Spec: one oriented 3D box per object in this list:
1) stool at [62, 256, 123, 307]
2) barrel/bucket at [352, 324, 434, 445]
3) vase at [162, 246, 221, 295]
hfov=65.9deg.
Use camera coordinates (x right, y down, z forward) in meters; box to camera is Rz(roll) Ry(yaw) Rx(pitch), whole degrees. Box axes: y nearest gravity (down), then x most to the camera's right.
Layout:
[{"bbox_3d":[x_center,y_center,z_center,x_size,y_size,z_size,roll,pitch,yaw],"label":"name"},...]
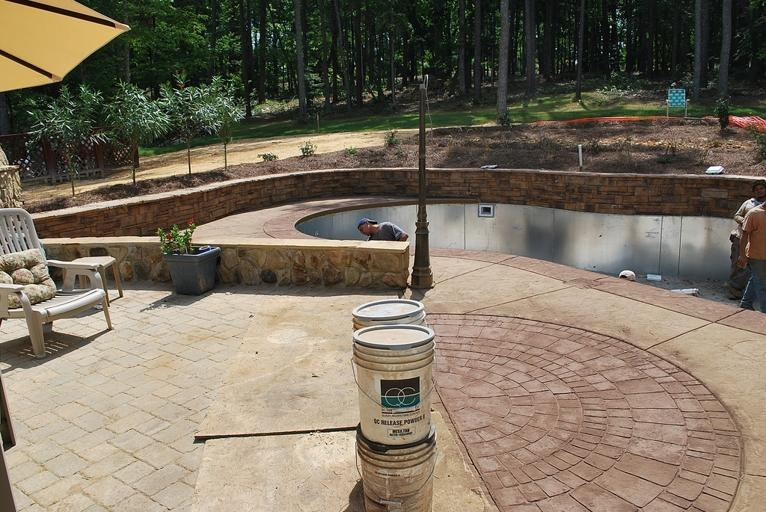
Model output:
[{"bbox_3d":[-4.179,0.361,8.586,0.707,0.484,0.681,-2,26,17],"label":"stool"},{"bbox_3d":[0.159,1.035,5.128,0.883,0.869,0.901,0,9,0],"label":"barrel/bucket"},{"bbox_3d":[-3.024,0.278,9.443,0.730,0.618,0.882,-2,6,4],"label":"vase"}]
